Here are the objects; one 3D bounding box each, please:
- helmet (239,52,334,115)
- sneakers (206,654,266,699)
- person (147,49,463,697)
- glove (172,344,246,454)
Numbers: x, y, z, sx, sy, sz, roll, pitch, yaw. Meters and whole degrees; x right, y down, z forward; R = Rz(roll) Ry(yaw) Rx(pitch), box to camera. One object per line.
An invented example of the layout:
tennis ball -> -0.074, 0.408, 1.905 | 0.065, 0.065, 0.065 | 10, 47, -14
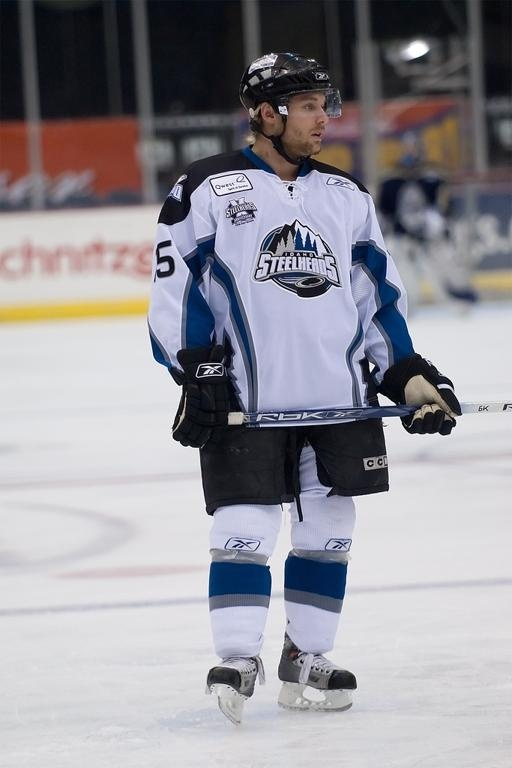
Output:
helmet -> 0.055, -0.615, 1.965 | 0.203, 0.113, 0.144 | -3, 0, 35
sneakers -> -0.045, 0.553, 1.762 | 0.069, 0.072, 0.133 | 2, 8, 23
person -> 0.080, -0.007, 1.897 | 0.585, 1.348, 0.447 | -6, 9, -29
glove -> -0.092, 0.022, 1.777 | 0.157, 0.179, 0.060 | -9, 6, -25
